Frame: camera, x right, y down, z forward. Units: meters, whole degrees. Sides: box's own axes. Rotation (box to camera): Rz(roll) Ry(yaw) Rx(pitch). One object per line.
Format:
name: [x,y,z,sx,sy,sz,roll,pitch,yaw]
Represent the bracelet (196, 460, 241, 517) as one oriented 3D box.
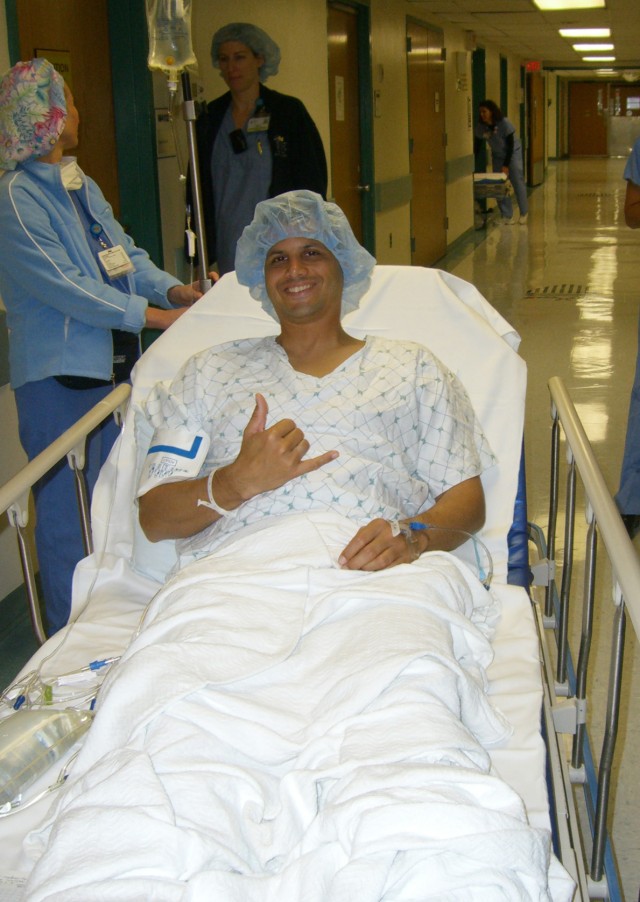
bracelet: [-0.194,0.076,1.365,0.019,0.079,0.081,15,-8,31]
